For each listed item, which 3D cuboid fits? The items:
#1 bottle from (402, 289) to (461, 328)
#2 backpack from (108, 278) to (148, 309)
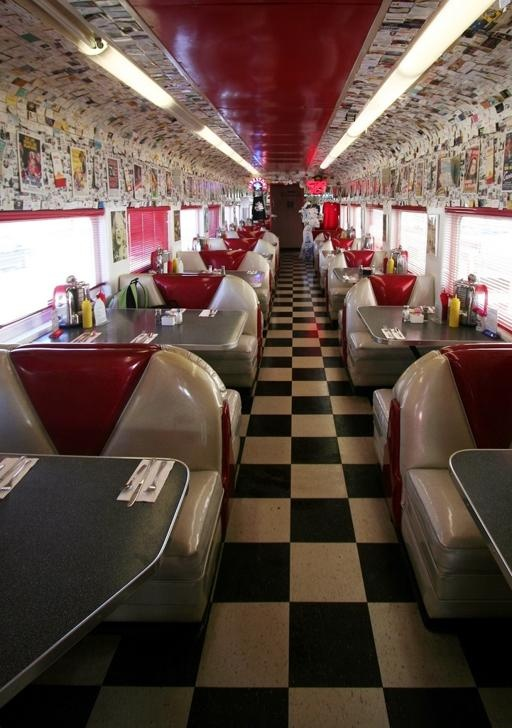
[{"bbox_3d":[1.326,-0.421,3.459,0.298,0.253,0.299,0,8,4],"label":"bottle"},{"bbox_3d":[-1.271,-0.695,4.466,0.334,0.356,0.200,13,17,42],"label":"backpack"}]
